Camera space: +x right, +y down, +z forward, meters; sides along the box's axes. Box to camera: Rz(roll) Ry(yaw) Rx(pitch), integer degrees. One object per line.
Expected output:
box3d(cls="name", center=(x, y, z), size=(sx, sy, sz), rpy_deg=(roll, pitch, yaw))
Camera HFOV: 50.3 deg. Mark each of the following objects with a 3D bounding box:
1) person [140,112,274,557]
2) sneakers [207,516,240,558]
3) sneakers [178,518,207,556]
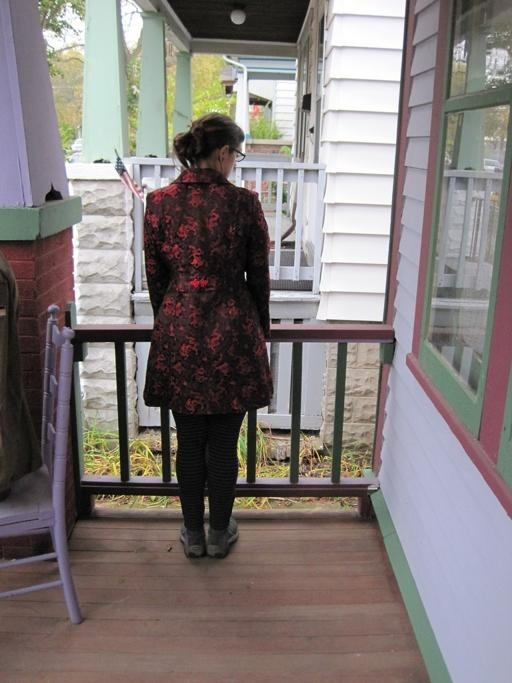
box3d(cls="person", center=(-0.153, 0.054, 1.775), size=(0.419, 1.498, 0.307), rpy_deg=(2, 9, 1))
box3d(cls="sneakers", center=(-0.115, 0.712, 2.031), size=(0.062, 0.117, 0.170), rpy_deg=(1, 23, 6))
box3d(cls="sneakers", center=(-0.221, 0.719, 2.009), size=(0.055, 0.069, 0.157), rpy_deg=(1, 9, -6))
